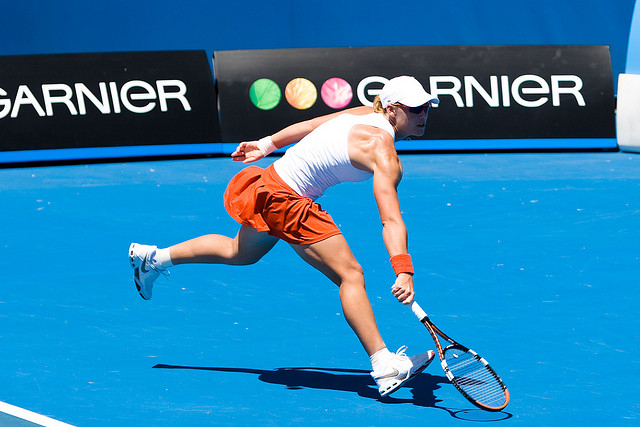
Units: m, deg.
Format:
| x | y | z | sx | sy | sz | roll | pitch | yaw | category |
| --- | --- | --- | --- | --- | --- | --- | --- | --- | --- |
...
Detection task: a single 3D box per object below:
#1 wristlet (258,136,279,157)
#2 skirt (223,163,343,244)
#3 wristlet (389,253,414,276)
| x | y | z | sx | sy | sz | roll | pitch | yaw | category |
| --- | --- | --- | --- | --- | --- | --- | --- | --- | --- |
| -0.485 | -0.627 | 6.434 | 0.146 | 0.152 | 0.179 | -9 | -10 | 7 | wristlet |
| -0.383 | -0.048 | 5.946 | 0.846 | 0.329 | 1.057 | 3 | 24 | -46 | skirt |
| 0.647 | 0.401 | 5.456 | 0.180 | 0.130 | 0.153 | -5 | -7 | -3 | wristlet |
